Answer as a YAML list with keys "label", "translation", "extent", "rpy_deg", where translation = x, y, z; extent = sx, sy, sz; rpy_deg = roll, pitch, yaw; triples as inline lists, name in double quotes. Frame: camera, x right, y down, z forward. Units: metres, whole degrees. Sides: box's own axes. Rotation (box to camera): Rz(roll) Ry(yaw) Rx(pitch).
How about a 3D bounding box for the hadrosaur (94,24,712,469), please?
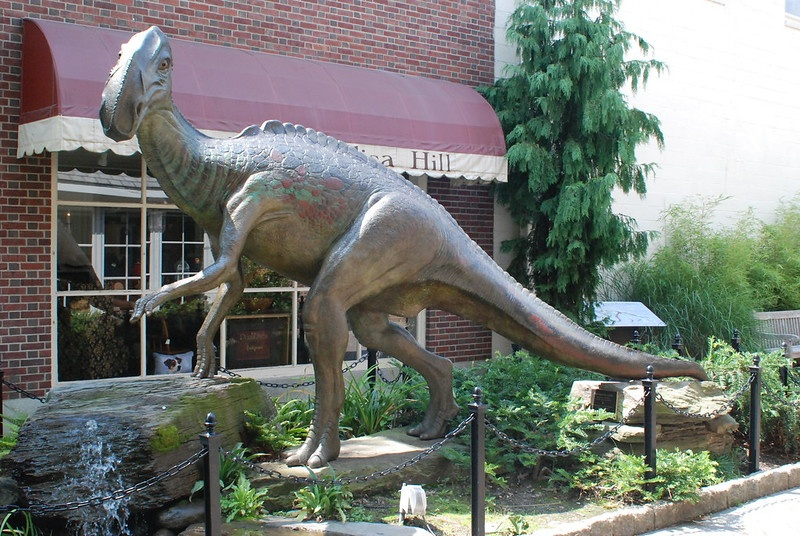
- label: "hadrosaur"
  translation: [0.092, -0.053, 7.831]
  extent: [6.361, 4.111, 1.639]
  rpy_deg: [5, -2, -9]

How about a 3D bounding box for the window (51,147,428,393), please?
- label: "window"
  translation: [-2.916, 0.186, 11.648]
  extent: [5.037, 3.176, 0.207]
  rpy_deg: [1, -13, -40]
